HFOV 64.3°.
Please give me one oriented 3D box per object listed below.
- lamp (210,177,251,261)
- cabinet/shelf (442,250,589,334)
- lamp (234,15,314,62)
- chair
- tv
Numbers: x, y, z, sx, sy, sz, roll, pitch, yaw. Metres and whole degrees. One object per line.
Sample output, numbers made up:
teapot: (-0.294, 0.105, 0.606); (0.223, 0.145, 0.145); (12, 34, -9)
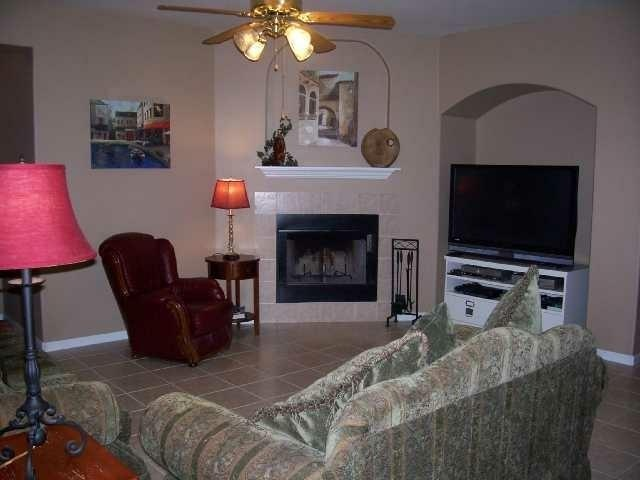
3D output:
lamp: (-0.975, -0.224, 5.571); (0.413, 0.930, 0.416); (2, 19, -2)
cabinet/shelf: (2.059, 0.708, 5.218); (0.559, 1.058, 1.517); (3, 3, -25)
lamp: (-0.332, -1.404, 3.547); (0.352, 0.129, 0.358); (-6, -5, 31)
chair: (-1.509, 0.541, 5.028); (1.152, 1.164, 0.898); (5, 7, 21)
tv: (2.042, -0.305, 5.507); (1.346, 1.033, 0.070); (8, 15, 38)
